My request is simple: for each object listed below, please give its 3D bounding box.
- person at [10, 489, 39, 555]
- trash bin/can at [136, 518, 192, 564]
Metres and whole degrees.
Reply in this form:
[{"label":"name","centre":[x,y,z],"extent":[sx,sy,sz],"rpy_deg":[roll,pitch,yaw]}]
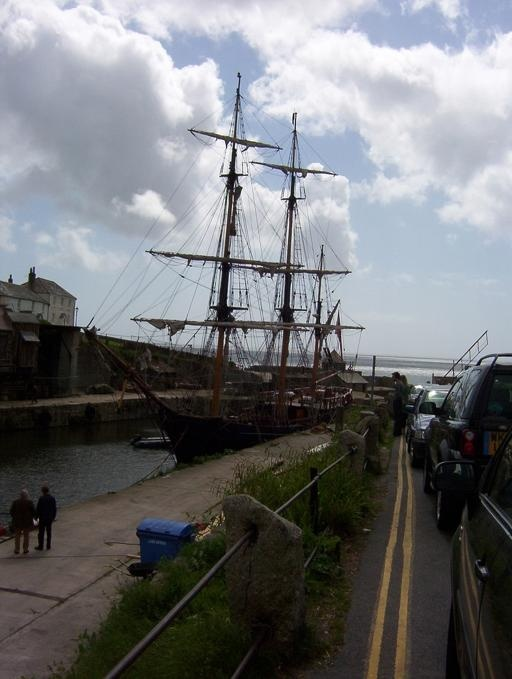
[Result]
[{"label":"person","centre":[-4.969,3.871,10.347],"extent":[0.489,1.156,1.526],"rpy_deg":[5,1,-25]},{"label":"trash bin/can","centre":[-1.387,2.990,7.351],"extent":[0.834,0.680,0.541],"rpy_deg":[4,-1,17]}]
